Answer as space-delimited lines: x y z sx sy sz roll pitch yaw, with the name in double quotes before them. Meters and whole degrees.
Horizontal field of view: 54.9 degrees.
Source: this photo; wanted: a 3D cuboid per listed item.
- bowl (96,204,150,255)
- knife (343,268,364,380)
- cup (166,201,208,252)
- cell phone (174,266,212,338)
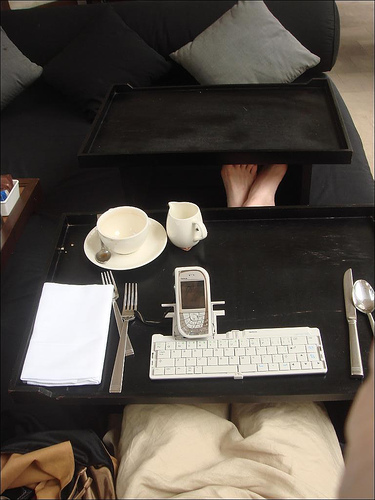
"bowl" -0.168 -0.077 0.934 0.099 0.083 0.155 9 50 8
"knife" 0.364 0.151 0.793 0.022 0.013 0.254 -5 54 23
"cup" -0.002 -0.052 0.970 0.114 0.125 0.093 24 40 24
"cell phone" 0.012 0.117 0.813 0.080 0.205 0.023 -3 30 1
